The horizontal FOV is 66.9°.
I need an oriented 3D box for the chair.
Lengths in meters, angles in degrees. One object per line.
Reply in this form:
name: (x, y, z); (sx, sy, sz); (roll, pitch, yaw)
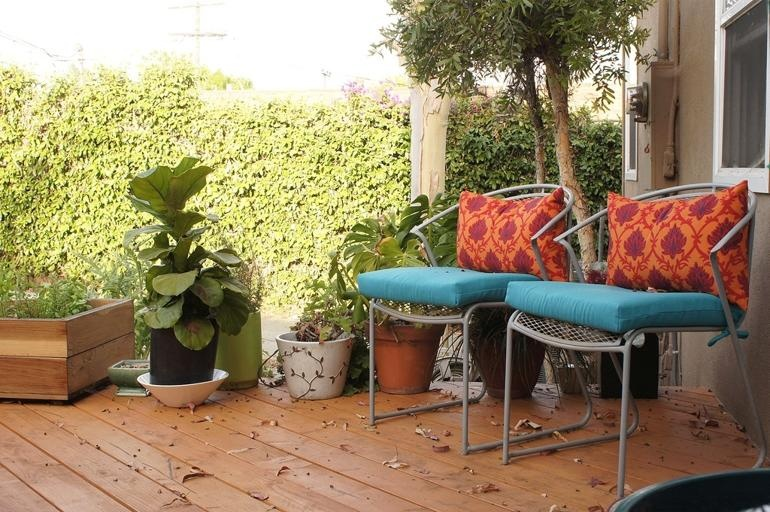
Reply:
chair: (0.831, 0.432, 2.800); (0.722, 0.907, 1.459); (3, -3, -40)

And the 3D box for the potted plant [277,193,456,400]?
potted plant: (-0.001, 0.168, 3.929); (1.165, 1.454, 1.369); (0, -4, 25)

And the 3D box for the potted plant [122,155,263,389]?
potted plant: (-1.120, 0.116, 3.395); (0.691, 1.378, 0.532); (-5, 9, -23)
